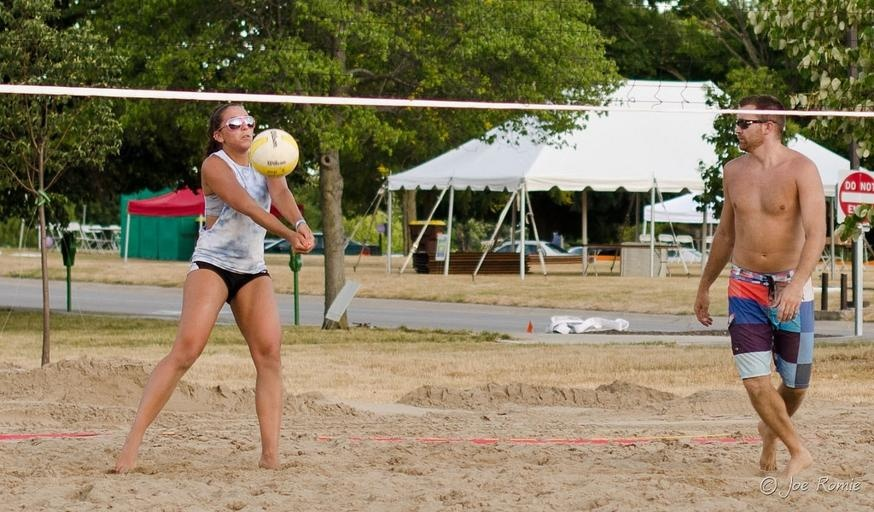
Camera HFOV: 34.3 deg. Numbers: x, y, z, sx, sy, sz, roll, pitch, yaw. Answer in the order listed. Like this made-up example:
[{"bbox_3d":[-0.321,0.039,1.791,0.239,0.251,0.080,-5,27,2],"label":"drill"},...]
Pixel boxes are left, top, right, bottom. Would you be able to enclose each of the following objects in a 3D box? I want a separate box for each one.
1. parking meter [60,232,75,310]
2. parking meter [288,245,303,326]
[{"bbox_3d":[-7.590,0.337,29.102,0.453,1.425,0.435,-1,-6,-14],"label":"parking meter"},{"bbox_3d":[-2.795,0.616,28.203,0.306,1.617,0.330,1,-7,-36],"label":"parking meter"}]
